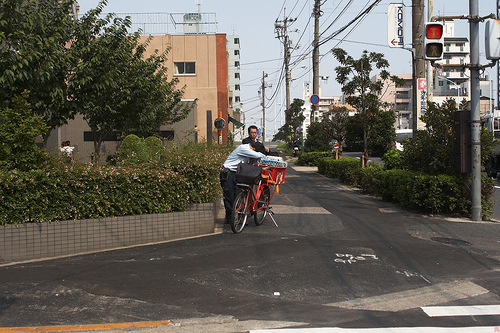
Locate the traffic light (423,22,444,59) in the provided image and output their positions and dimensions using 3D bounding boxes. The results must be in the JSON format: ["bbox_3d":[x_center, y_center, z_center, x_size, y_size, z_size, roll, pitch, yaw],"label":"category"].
[{"bbox_3d":[5.542,-3.761,18.655,0.600,1.073,0.388,5,14,15],"label":"traffic light"}]

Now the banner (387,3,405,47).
[{"bbox_3d":[5.740,-5.478,24.255,0.672,1.624,0.543,4,14,12],"label":"banner"}]

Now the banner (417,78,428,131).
[{"bbox_3d":[6.321,-2.228,22.692,0.445,2.351,0.430,7,-28,4],"label":"banner"}]
